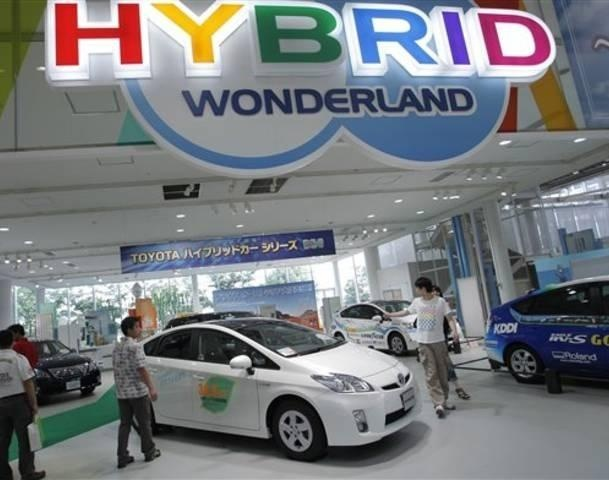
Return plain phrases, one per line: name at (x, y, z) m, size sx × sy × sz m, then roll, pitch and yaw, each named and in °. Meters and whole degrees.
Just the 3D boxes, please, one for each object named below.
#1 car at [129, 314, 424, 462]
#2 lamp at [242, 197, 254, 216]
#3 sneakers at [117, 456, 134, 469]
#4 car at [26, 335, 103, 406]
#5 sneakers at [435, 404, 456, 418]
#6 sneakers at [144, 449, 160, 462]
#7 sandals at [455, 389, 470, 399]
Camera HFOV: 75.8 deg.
car at (-0.374, 1.711, 4.815) m, size 2.809 × 0.981 × 1.638 m, roll -6°, pitch -7°, yaw 32°
lamp at (-1.424, -0.857, 10.031) m, size 0.254 × 0.376 × 0.250 m, roll -6°, pitch -14°, yaw -35°
sneakers at (-2.116, 2.616, 4.620) m, size 0.189 × 0.118 × 0.153 m, roll -3°, pitch -9°, yaw -27°
car at (-5.855, 3.041, 9.390) m, size 1.275 × 1.018 × 2.332 m, roll 4°, pitch -12°, yaw -43°
sneakers at (1.820, 2.242, 5.089) m, size 0.142 × 0.065 × 0.193 m, roll -9°, pitch 33°, yaw -13°
sneakers at (-1.824, 2.572, 4.714) m, size 0.088 × 0.128 × 0.192 m, roll 4°, pitch 5°, yaw 28°
sandals at (2.261, 2.215, 5.640) m, size 0.104 × 0.124 × 0.308 m, roll -30°, pitch -8°, yaw -25°
